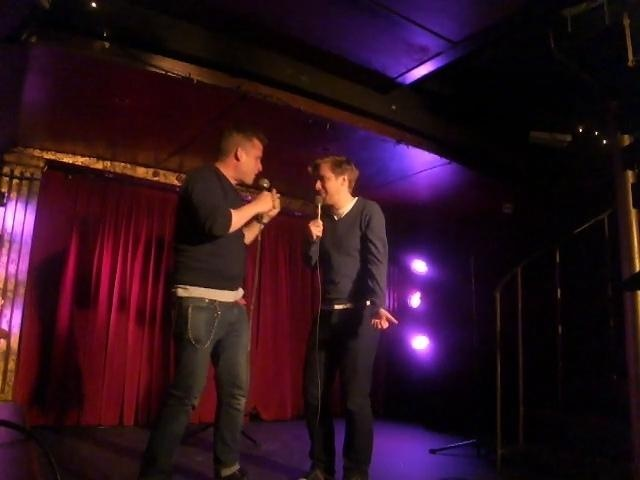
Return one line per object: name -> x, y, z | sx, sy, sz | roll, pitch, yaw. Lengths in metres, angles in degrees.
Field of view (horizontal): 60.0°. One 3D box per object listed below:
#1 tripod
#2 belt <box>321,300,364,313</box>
tripod -> 1.803, 1.251, 6.234 | 0.599, 2.054, 2.269 | 2, -9, 20
belt -> 0.181, 0.544, 4.516 | 0.342, 0.080, 0.042 | 4, -9, 18
